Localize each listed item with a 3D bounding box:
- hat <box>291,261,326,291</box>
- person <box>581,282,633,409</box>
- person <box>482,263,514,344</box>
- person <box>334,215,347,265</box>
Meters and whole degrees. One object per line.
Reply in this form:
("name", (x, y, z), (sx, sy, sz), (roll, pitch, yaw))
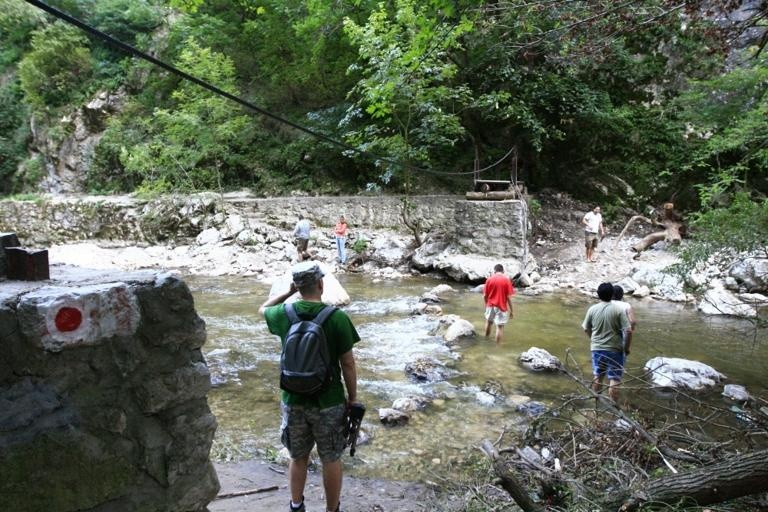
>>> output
("hat", (-1.099, 0.275, 8.268), (0.357, 0.212, 0.442), (-5, 8, 0))
("person", (4.016, 1.532, 10.413), (0.751, 2.098, 0.843), (2, 5, 5))
("person", (2.653, 1.049, 13.460), (0.652, 1.773, 0.938), (3, 5, 12))
("person", (-1.544, -0.588, 21.242), (0.378, 1.714, 1.344), (1, 5, -4))
